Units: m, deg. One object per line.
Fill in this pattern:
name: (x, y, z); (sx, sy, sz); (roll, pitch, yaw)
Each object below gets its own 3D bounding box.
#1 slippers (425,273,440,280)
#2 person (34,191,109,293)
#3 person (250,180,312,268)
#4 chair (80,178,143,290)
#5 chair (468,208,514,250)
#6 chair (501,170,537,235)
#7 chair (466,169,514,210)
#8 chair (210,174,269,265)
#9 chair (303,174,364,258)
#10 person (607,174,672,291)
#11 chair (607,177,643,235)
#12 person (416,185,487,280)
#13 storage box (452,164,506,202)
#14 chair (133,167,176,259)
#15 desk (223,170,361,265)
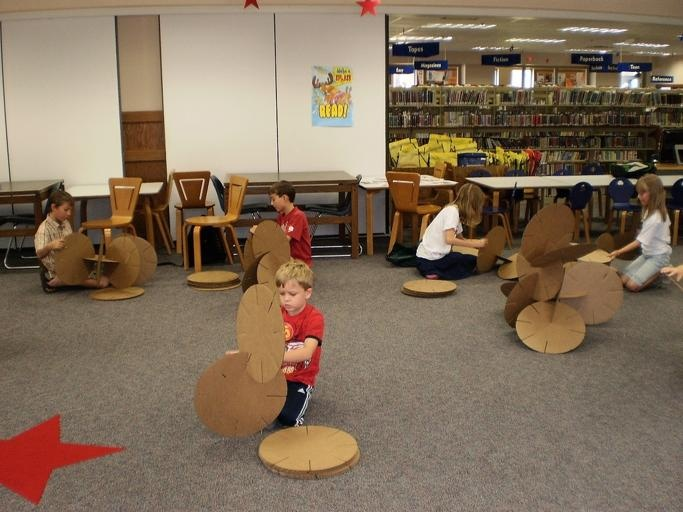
slippers: (0.916, 0.203, 5.590); (0.102, 0.085, 0.051); (7, 2, -2)
person: (-2.730, -0.136, 5.541); (0.644, 1.073, 0.868); (6, 9, 11)
person: (-0.502, -0.304, 5.256); (0.342, 0.797, 0.378); (8, 14, 36)
chair: (-2.529, -0.321, 5.998); (0.662, 1.025, 0.731); (4, 9, 13)
chair: (1.983, -0.537, 7.179); (0.372, 0.725, 0.451); (7, 9, 24)
chair: (2.760, -0.822, 8.468); (0.377, 0.634, 0.370); (11, -8, 33)
chair: (2.017, -0.835, 7.480); (0.344, 0.490, 0.362); (-15, -1, 17)
chair: (-1.215, -0.508, 6.951); (0.735, 1.236, 0.808); (-2, 11, -6)
chair: (-0.297, -0.487, 6.882); (0.911, 0.997, 0.775); (-3, 16, -10)
person: (2.757, -0.214, 5.060); (0.504, 1.043, 0.283); (-4, 12, -17)
chair: (3.699, -0.641, 7.180); (0.357, 0.714, 0.451); (-7, 14, -4)
person: (1.072, -0.227, 5.444); (0.639, 0.945, 0.523); (1, 12, 7)
storage box: (2.089, -1.236, 8.198); (0.720, 0.638, 0.551); (-4, 11, -17)
chair: (-2.374, -0.592, 7.046); (0.448, 0.795, 0.437); (3, -11, 37)
desk: (-0.429, -0.634, 6.804); (1.142, 0.866, 1.202); (0, 10, -3)
